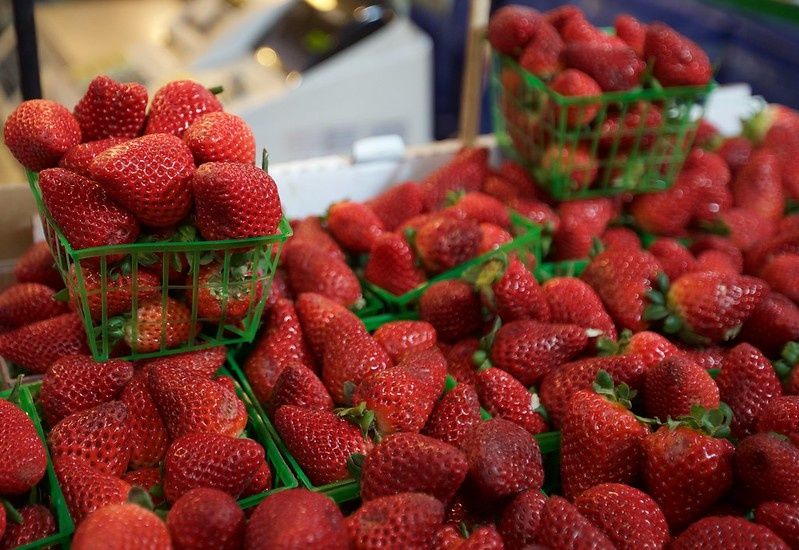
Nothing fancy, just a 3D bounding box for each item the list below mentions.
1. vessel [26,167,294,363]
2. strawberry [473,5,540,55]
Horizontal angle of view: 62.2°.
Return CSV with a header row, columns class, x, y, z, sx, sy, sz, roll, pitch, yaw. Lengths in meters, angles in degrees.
class,x,y,z,sx,sy,sz,roll,pitch,yaw
vessel,-0.512,-0.008,1.489,0.557,0.401,0.230,-7,27,-7
strawberry,0.304,-0.669,1.845,0.135,0.086,0.128,-10,39,50
